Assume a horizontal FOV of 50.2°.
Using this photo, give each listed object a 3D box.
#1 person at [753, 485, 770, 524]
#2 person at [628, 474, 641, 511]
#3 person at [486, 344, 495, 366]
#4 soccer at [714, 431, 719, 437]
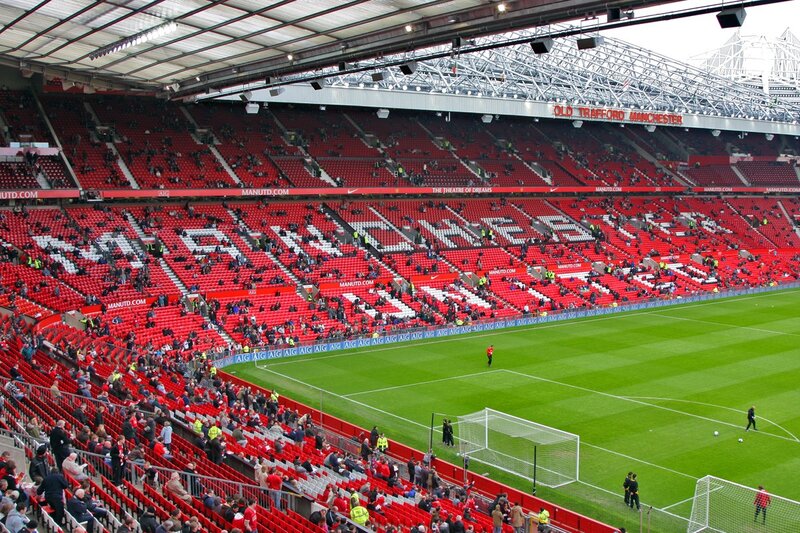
[{"bbox_3d":[14.221,9.377,33.622,0.587,1.240,0.973,5,4,22],"label":"person"},{"bbox_3d":[9.749,9.284,35.563,0.538,1.408,1.214,5,4,15],"label":"person"},{"bbox_3d":[5.545,5.509,52.300,0.438,0.964,0.798,-4,43,11],"label":"person"},{"bbox_3d":[15.076,7.989,40.809,0.191,0.086,0.172,-11,14,-17],"label":"soccer"}]
